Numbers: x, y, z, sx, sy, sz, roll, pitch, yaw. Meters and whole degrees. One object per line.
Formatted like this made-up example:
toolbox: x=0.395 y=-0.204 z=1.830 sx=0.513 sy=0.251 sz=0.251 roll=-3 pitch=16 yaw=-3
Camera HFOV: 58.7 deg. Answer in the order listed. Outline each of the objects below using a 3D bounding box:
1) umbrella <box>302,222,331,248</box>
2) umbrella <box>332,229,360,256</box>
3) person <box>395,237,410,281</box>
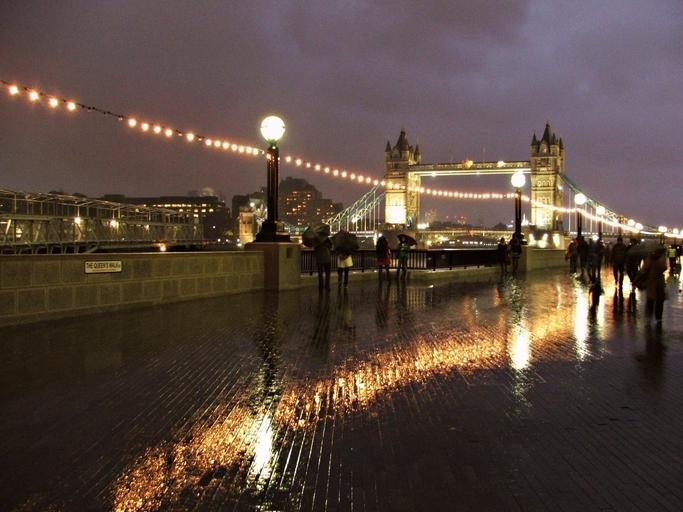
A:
umbrella: x=-0.770 y=-0.578 z=17.525 sx=0.644 sy=0.675 sz=0.943 roll=5 pitch=7 yaw=41
umbrella: x=0.083 y=-0.370 z=18.265 sx=0.960 sy=0.722 sz=0.521 roll=-5 pitch=7 yaw=-45
person: x=2.275 y=0.078 z=22.425 sx=0.416 sy=1.568 sz=0.942 roll=1 pitch=5 yaw=5
